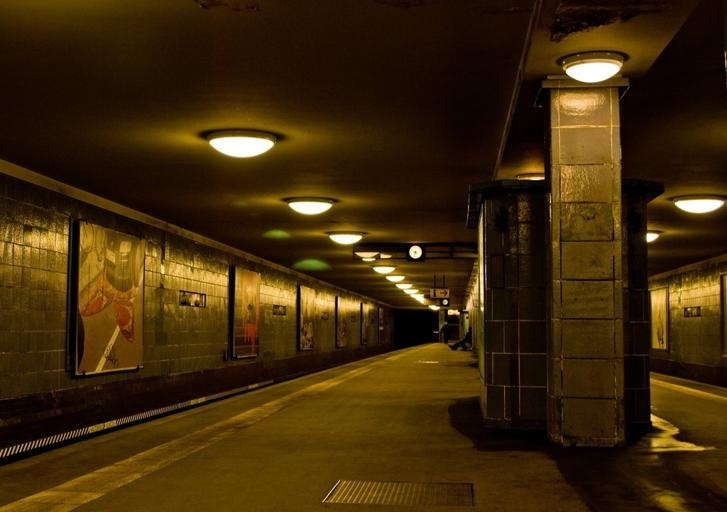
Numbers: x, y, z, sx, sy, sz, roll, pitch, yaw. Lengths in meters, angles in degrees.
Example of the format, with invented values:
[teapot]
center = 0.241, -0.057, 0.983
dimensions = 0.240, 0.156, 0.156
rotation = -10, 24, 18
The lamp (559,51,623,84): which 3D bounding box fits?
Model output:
[lamp]
center = 2.394, -1.976, 6.876
dimensions = 0.358, 0.131, 0.373
rotation = 0, -3, 24
